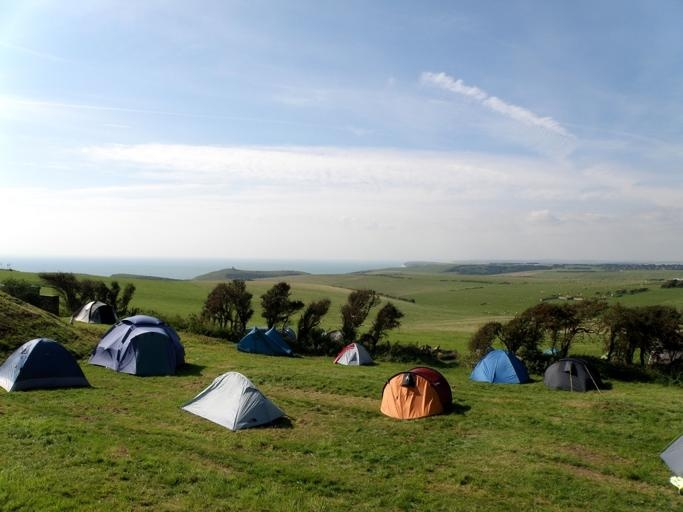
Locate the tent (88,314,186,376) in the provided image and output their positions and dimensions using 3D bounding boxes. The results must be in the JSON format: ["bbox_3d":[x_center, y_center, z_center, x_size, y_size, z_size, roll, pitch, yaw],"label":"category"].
[{"bbox_3d":[-12.334,5.548,31.278,4.585,3.074,2.343,3,7,-1],"label":"tent"}]

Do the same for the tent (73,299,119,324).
[{"bbox_3d":[-21.845,5.130,45.665,3.194,1.189,2.367,2,1,32],"label":"tent"}]

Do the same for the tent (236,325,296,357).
[{"bbox_3d":[-6.394,7.338,43.407,4.259,2.061,2.628,0,7,-21],"label":"tent"}]

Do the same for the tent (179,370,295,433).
[{"bbox_3d":[-5.489,7.554,25.881,3.509,1.482,2.885,9,5,42],"label":"tent"}]

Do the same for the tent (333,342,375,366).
[{"bbox_3d":[1.238,8.259,43.194,1.887,1.159,2.321,-5,-11,31],"label":"tent"}]
